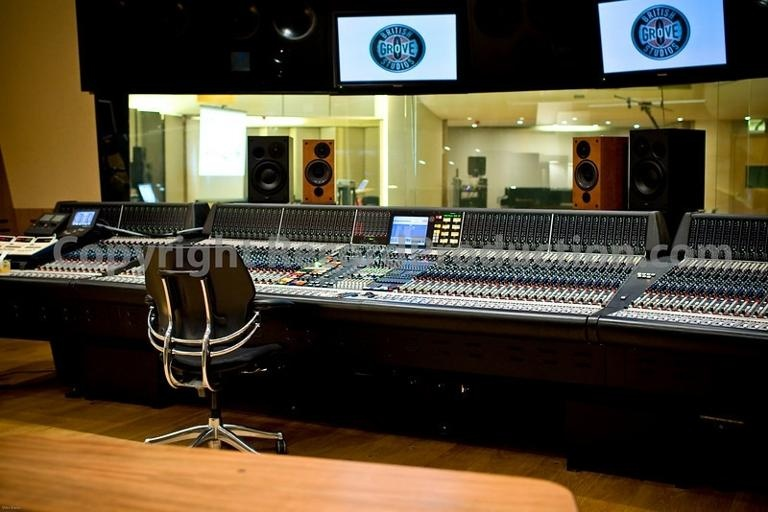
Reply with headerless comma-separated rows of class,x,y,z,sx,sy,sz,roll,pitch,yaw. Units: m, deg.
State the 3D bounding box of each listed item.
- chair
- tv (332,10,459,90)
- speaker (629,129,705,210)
chair,-0.891,0.534,3.129,0.859,1.041,0.713,0,-13,-1
tv,0.114,-1.465,4.150,0.643,0.328,0.063,1,13,11
speaker,1.713,-0.511,3.511,0.502,0.488,0.335,0,14,6
